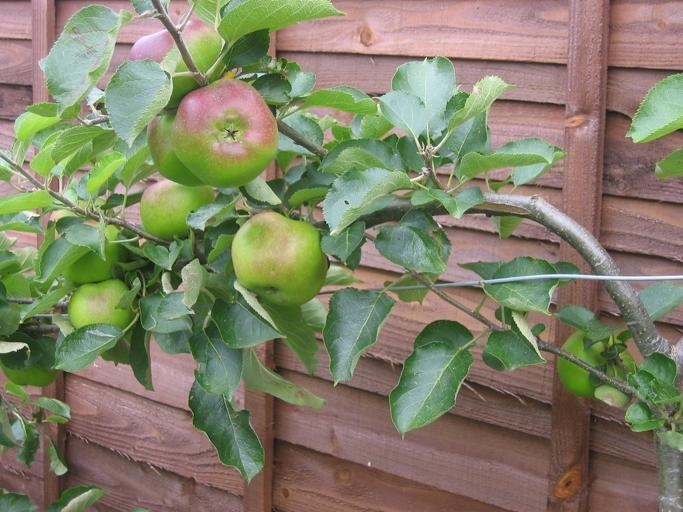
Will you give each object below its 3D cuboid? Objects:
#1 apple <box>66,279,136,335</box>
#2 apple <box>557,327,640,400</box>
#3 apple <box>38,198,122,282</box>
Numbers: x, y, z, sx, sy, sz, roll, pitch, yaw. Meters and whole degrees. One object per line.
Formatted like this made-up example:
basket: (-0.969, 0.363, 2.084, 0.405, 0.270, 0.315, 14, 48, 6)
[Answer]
apple: (-0.484, 0.086, 1.505, 0.086, 0.082, 0.082, -17, 12, 2)
apple: (0.509, 0.226, 1.549, 0.153, 0.134, 0.146, 18, -17, 6)
apple: (-0.520, -0.015, 1.509, 0.208, 0.156, 0.113, 11, 10, 33)
